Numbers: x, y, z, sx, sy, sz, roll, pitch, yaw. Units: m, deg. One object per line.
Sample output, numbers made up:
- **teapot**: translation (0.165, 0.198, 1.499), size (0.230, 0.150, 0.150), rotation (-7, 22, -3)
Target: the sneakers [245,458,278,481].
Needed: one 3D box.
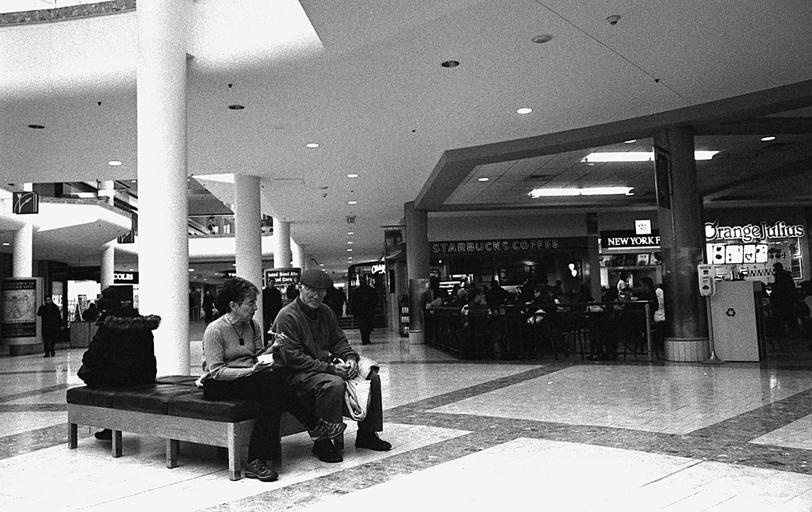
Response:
- **sneakers**: translation (-1.596, 2.362, 7.223), size (0.385, 0.224, 0.101), rotation (-3, -6, 21)

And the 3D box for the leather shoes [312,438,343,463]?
- **leather shoes**: translation (-0.902, 2.268, 7.625), size (0.208, 0.165, 0.452), rotation (1, -3, -44)

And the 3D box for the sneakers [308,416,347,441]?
- **sneakers**: translation (-0.876, 1.986, 7.499), size (0.494, 0.189, 0.200), rotation (-6, -41, 9)

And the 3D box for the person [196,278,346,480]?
- **person**: translation (-1.645, 1.376, 7.516), size (1.321, 2.239, 0.578), rotation (0, -6, -7)
